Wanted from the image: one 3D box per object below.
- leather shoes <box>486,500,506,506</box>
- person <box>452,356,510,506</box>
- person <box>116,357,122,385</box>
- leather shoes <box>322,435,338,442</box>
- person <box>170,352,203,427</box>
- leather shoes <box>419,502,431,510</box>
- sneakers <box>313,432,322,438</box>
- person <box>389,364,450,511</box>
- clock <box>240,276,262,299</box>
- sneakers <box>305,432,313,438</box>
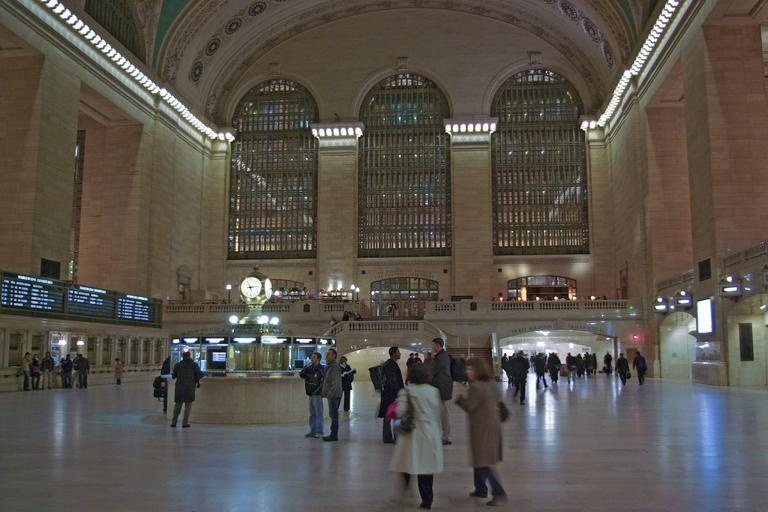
[{"bbox_3d":[1.923,4.232,12.409,0.295,0.083,0.090,-3,-11,7],"label":"leather shoes"},{"bbox_3d":[1.782,3.070,12.771,0.749,2.465,0.863,-9,-14,32],"label":"person"},{"bbox_3d":[-11.991,5.256,32.987,0.314,1.274,2.318,3,-12,-20],"label":"person"},{"bbox_3d":[-1.178,4.081,16.184,0.332,0.127,0.212,1,-12,-12],"label":"leather shoes"},{"bbox_3d":[-4.906,3.350,18.126,0.689,1.862,0.755,2,-12,-17],"label":"person"},{"bbox_3d":[0.707,4.275,12.398,0.193,0.124,0.100,-1,-11,1],"label":"leather shoes"},{"bbox_3d":[-1.481,4.115,16.564,0.188,0.114,0.216,-1,-11,1],"label":"sneakers"},{"bbox_3d":[0.577,3.135,12.604,0.844,2.443,0.390,-1,-12,0],"label":"person"},{"bbox_3d":[-3.592,0.895,19.747,0.601,0.603,0.253,-6,-13,23],"label":"clock"},{"bbox_3d":[-1.693,4.113,16.587,0.174,0.076,0.084,8,-13,-30],"label":"sneakers"}]
